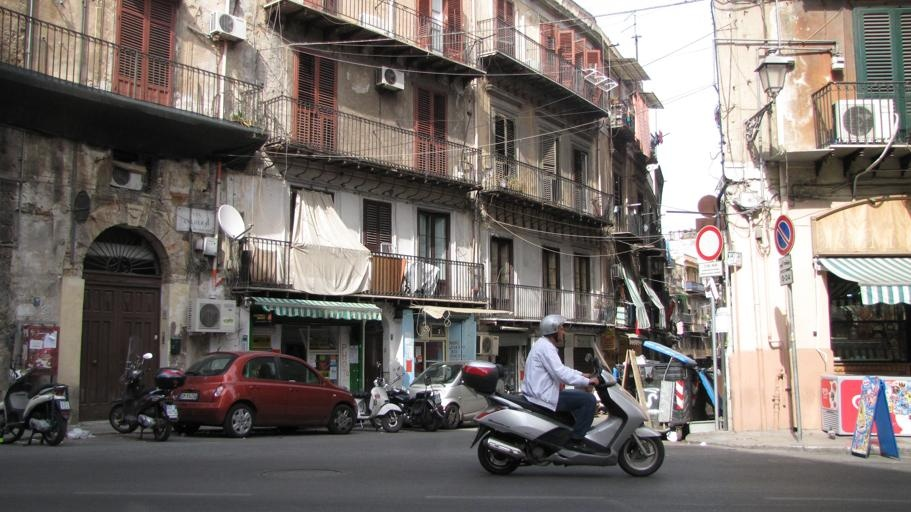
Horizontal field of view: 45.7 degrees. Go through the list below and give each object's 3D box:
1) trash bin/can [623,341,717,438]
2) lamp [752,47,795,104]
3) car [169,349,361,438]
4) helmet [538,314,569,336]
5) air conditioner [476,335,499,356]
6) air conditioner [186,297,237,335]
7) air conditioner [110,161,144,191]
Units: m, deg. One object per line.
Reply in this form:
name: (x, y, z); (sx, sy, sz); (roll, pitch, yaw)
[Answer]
trash bin/can: (6.998, 4.288, 34.346); (2.243, 3.590, 2.190); (1, -1, -25)
lamp: (9.359, -5.386, 31.969); (0.835, 2.208, 0.833); (0, 0, -35)
car: (-5.872, 4.120, 32.163); (4.239, 1.906, 2.270); (4, -8, -38)
helmet: (2.365, 1.714, 26.299); (0.534, 0.435, 0.450); (11, -11, -17)
air conditioner: (1.281, 3.518, 42.306); (0.664, 0.954, 1.267); (-6, -10, 28)
air conditioner: (-7.961, 2.002, 35.248); (1.812, 1.382, 0.972); (9, -17, -37)
air conditioner: (-10.350, -2.482, 34.321); (0.705, 0.961, 1.324); (-1, -7, 42)
